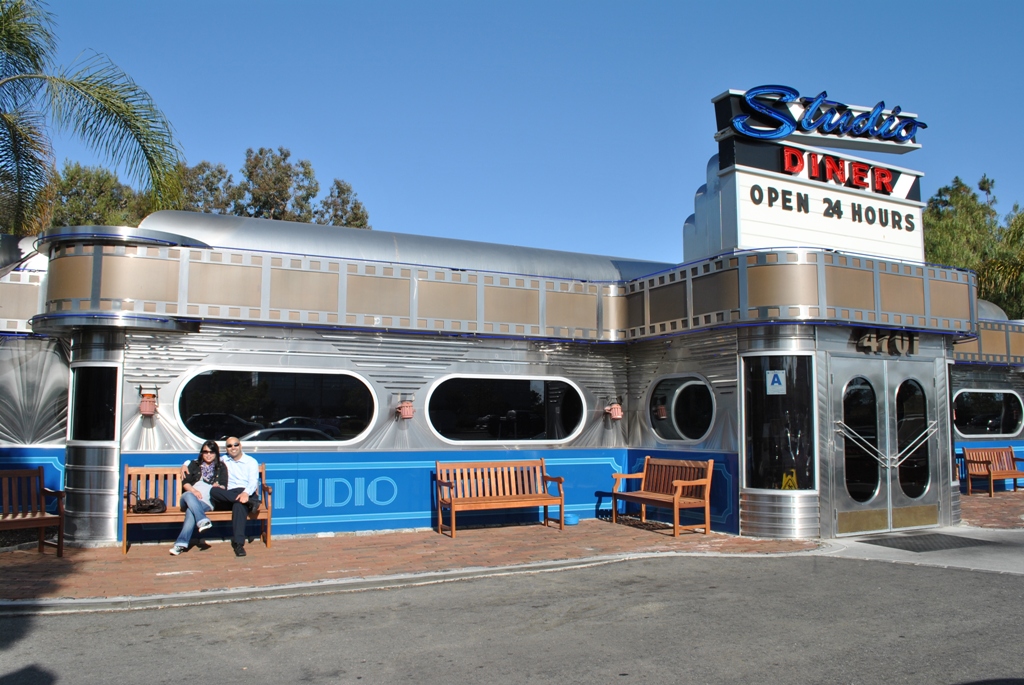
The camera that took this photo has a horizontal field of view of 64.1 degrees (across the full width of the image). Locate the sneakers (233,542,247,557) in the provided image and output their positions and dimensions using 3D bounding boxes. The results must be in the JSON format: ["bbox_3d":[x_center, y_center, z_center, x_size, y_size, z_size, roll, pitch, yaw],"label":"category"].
[{"bbox_3d":[-4.363,3.316,13.094,0.117,0.151,0.346,2,-7,-27],"label":"sneakers"}]

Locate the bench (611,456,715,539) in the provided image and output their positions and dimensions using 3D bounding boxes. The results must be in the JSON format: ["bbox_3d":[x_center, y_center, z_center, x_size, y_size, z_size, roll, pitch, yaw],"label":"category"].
[{"bbox_3d":[2.746,2.854,15.265,0.801,1.344,2.129,4,-7,-23],"label":"bench"}]

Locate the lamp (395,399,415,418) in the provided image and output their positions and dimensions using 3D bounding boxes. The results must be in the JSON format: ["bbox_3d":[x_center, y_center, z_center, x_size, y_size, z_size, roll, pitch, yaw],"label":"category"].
[{"bbox_3d":[-1.974,1.216,15.047,0.306,0.437,0.324,4,-7,-33],"label":"lamp"}]

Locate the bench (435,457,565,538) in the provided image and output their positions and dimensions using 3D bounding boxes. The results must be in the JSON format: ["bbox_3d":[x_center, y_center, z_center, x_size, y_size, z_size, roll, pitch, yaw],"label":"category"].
[{"bbox_3d":[-0.220,2.865,15.047,2.338,1.350,0.776,3,-5,-30],"label":"bench"}]

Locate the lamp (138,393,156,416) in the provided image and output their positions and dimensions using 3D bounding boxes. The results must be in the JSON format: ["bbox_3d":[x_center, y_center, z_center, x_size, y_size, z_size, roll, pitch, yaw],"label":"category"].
[{"bbox_3d":[-6.147,1.037,13.800,0.275,0.376,0.367,4,-3,-6],"label":"lamp"}]

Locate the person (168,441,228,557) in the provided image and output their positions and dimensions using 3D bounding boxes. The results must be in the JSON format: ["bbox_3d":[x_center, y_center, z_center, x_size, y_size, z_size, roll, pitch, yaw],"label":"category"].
[{"bbox_3d":[-4.984,2.362,13.055,0.738,1.251,1.904,6,12,-12],"label":"person"}]

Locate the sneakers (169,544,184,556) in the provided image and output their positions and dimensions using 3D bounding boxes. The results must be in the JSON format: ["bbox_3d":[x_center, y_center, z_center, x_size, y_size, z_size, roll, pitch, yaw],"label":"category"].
[{"bbox_3d":[-5.375,3.335,13.069,0.110,0.123,0.281,2,-11,-2],"label":"sneakers"}]

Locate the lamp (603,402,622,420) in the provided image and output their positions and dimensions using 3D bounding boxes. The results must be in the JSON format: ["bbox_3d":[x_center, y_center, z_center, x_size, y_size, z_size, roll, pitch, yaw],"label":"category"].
[{"bbox_3d":[2.034,1.400,16.462,0.312,0.330,0.130,7,-7,8],"label":"lamp"}]

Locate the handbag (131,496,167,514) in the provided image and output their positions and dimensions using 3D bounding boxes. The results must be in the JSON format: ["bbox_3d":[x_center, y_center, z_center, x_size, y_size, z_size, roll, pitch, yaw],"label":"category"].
[{"bbox_3d":[-5.911,2.650,13.304,0.397,0.138,0.247,3,0,-18],"label":"handbag"}]

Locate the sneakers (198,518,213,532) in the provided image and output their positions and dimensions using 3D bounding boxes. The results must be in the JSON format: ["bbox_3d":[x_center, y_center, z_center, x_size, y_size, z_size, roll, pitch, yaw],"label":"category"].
[{"bbox_3d":[-5.029,2.988,13.383,0.212,0.240,0.537,0,-12,-16],"label":"sneakers"}]

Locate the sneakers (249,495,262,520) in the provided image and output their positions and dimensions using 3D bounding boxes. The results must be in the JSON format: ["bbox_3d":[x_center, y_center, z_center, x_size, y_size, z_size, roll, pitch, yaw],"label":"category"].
[{"bbox_3d":[-4.219,2.726,13.451,0.130,0.405,0.165,12,-6,-27],"label":"sneakers"}]
